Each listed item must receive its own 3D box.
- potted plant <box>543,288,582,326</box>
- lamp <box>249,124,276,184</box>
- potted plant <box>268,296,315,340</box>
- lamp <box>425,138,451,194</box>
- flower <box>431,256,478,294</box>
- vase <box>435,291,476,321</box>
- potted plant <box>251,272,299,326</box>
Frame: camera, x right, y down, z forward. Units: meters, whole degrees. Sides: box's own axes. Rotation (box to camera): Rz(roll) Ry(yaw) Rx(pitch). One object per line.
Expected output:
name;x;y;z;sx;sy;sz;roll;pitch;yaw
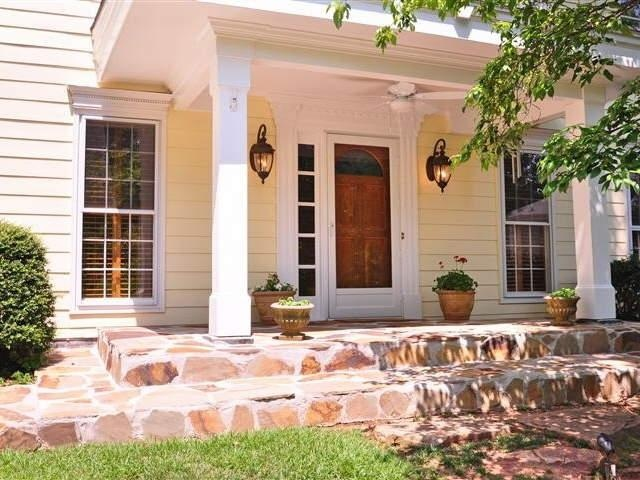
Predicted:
potted plant;3.628;0.999;7.938;0.489;0.506;0.499;-2;-7;37
lamp;-0.906;-1.333;8.262;0.400;0.929;0.567;3;12;-6
potted plant;-0.346;0.969;6.625;0.535;0.396;0.494;3;-18;-10
lamp;2.104;-1.335;9.401;0.465;0.935;0.501;7;13;11
flower;2.352;0.596;9.151;0.662;0.597;0.654;-1;7;-8
vase;2.289;1.094;8.946;0.538;0.396;0.540;0;-7;2
potted plant;-0.674;0.926;8.071;0.718;0.491;0.716;1;-8;7
